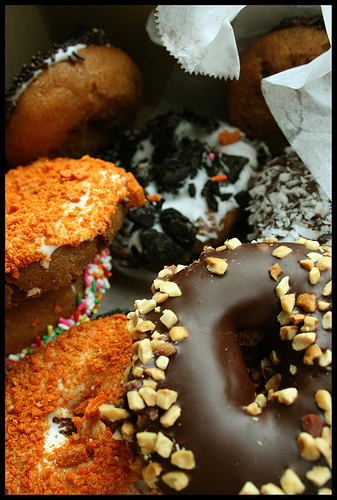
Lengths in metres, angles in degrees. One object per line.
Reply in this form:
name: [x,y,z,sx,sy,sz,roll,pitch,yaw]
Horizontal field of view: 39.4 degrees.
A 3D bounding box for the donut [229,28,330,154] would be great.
donut: [0.255,-0.388,1.185,0.095,0.357,0.263,-40,55,-22]
